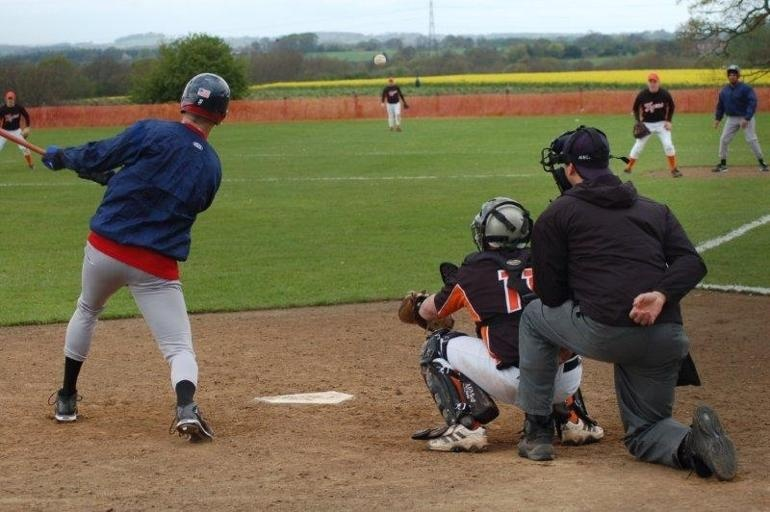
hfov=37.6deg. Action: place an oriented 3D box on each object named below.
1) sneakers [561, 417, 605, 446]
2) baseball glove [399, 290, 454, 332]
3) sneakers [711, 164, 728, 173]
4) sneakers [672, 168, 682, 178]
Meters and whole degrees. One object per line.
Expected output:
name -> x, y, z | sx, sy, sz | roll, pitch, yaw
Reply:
sneakers -> 1.888, 1.720, 10.897 | 0.446, 0.251, 0.198 | -9, 8, -11
baseball glove -> 0.401, 0.568, 11.261 | 0.400, 0.241, 0.489 | 7, -7, 15
sneakers -> 6.518, -1.716, 22.229 | 0.470, 0.167, 0.141 | -3, 23, 1
sneakers -> 5.627, -1.581, 21.704 | 0.134, 0.129, 0.321 | -2, 6, 4
